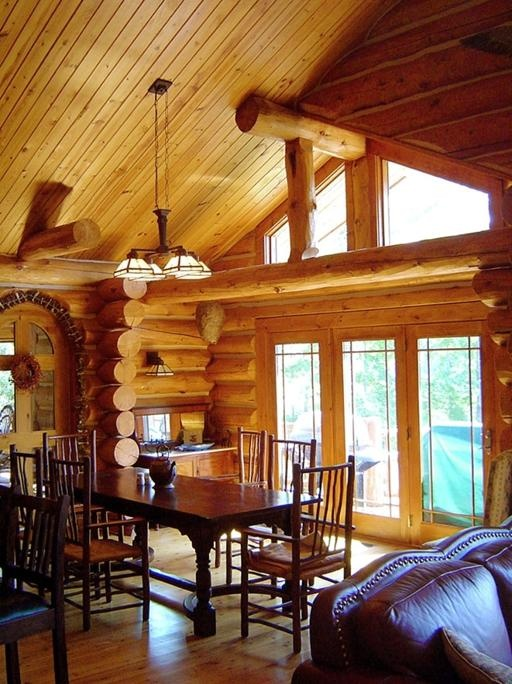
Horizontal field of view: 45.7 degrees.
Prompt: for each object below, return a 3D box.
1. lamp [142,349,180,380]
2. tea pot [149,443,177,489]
[{"bbox_3d":[-1.129,0.266,7.285,0.377,0.310,0.380,2,-3,-29],"label":"lamp"},{"bbox_3d":[-0.718,0.945,4.621,0.204,0.312,0.312,1,-6,-35],"label":"tea pot"}]
